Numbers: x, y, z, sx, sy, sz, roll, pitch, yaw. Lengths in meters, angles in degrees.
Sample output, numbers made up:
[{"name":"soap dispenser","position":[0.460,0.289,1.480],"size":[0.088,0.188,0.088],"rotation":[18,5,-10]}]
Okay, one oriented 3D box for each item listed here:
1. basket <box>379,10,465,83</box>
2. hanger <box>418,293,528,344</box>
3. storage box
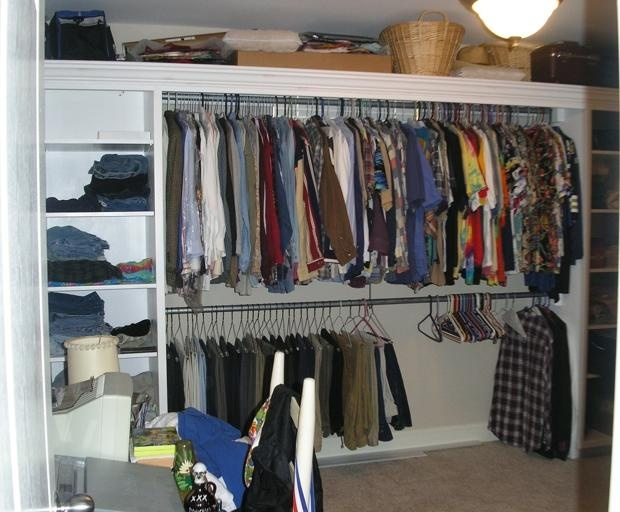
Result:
[{"name":"basket","position":[0.565,-0.985,3.040],"size":[0.324,0.237,0.345],"rotation":[-1,2,-12]},{"name":"hanger","position":[0.887,0.343,3.454],"size":[0.406,0.302,0.178],"rotation":[-3,43,-19]},{"name":"storage box","position":[1.344,-0.986,3.181],"size":[0.369,0.212,0.146],"rotation":[0,6,-3]}]
